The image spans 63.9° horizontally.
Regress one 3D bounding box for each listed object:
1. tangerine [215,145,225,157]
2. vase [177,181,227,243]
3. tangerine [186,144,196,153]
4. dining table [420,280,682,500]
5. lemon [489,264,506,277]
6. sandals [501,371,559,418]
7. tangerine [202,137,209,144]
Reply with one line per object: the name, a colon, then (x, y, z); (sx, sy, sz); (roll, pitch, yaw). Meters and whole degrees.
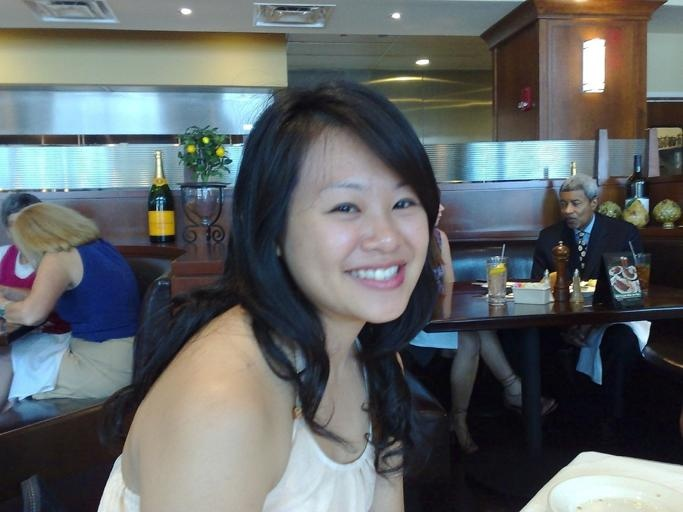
tangerine: (-0.697, -0.605, 3.156); (0.052, 0.073, 0.053); (-3, 18, 7)
vase: (-0.809, -0.253, 3.300); (0.348, 0.393, 0.350); (0, 2, -5)
tangerine: (-0.861, -0.615, 3.138); (0.046, 0.048, 0.046); (0, 3, -9)
dining table: (0.886, 0.471, 2.557); (0.888, 0.867, 0.894); (-1, 1, -3)
lemon: (0.683, 0.057, 2.400); (0.061, 0.045, 0.061); (-2, 8, 4)
sandals: (1.035, 0.823, 3.216); (0.197, 0.218, 0.513); (-10, -13, -9)
tangerine: (-0.776, -0.661, 3.131); (0.033, 0.032, 0.038); (35, -31, -8)
